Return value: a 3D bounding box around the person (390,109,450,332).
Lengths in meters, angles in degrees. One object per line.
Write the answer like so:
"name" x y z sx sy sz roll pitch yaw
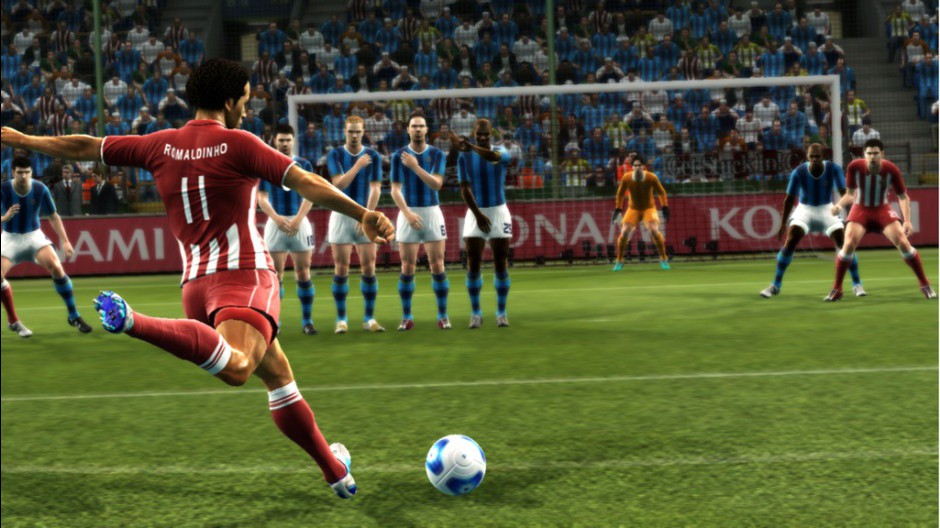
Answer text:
"person" -0.806 -0.666 17.811 0.883 3.530 1.052 -2 4 -3

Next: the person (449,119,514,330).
"person" 0.267 -0.646 17.795 0.831 3.437 0.784 -1 4 12
